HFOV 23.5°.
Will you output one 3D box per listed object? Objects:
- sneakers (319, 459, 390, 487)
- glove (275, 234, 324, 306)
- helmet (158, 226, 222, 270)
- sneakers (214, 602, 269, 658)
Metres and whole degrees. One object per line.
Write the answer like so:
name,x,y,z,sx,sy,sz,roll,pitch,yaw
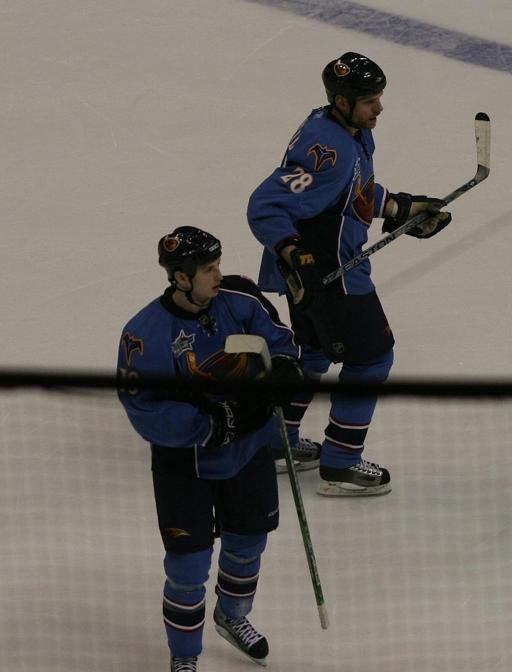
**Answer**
sneakers,0.416,0.605,5.393,0.338,0.112,0.095,-2,38,3
glove,0.144,-0.258,4.963,0.136,0.171,0.259,-24,72,-27
helmet,-0.246,-0.295,4.243,0.205,0.151,0.151,-17,8,18
sneakers,-0.057,1.067,4.470,0.092,0.098,0.270,-36,37,-22
